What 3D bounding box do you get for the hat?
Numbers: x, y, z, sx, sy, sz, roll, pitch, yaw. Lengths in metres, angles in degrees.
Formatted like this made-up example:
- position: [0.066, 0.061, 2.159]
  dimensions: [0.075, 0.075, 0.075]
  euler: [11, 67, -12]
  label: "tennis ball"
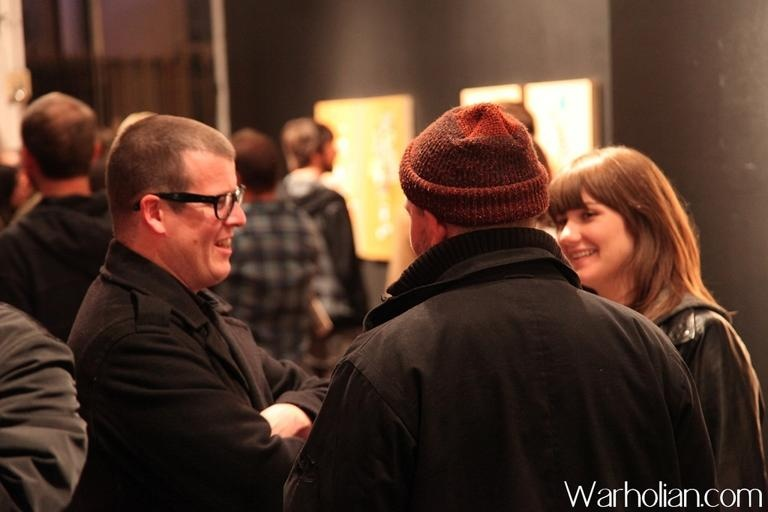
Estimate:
- position: [0.249, -0.279, 2.382]
  dimensions: [0.404, 0.245, 0.392]
  euler: [-31, 48, -34]
  label: "hat"
